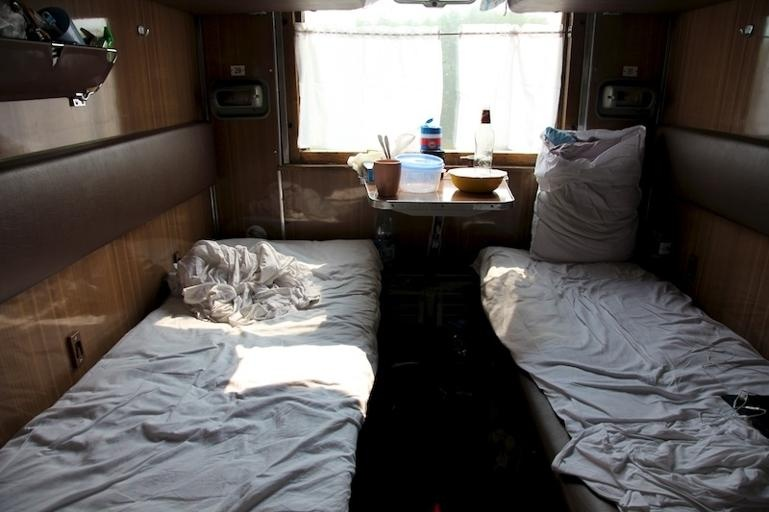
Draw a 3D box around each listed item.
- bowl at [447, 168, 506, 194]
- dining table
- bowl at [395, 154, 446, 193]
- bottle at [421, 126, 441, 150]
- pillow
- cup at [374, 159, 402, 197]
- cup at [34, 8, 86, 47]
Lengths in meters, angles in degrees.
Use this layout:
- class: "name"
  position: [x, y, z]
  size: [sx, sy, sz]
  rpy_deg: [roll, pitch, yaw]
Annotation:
- class: "bowl"
  position: [0.498, -0.428, 2.890]
  size: [0.289, 0.109, 0.314]
  rpy_deg: [0, 21, 0]
- class: "dining table"
  position: [0.274, -0.124, 3.260]
  size: [0.964, 0.906, 0.934]
  rpy_deg: [2, 36, 2]
- class: "bowl"
  position: [0.193, -0.468, 2.876]
  size: [0.248, 0.171, 0.348]
  rpy_deg: [2, 21, 3]
- class: "bottle"
  position: [0.252, -0.710, 3.130]
  size: [0.127, 0.130, 0.123]
  rpy_deg: [-7, 26, -13]
- class: "pillow"
  position: [1.207, -0.362, 3.312]
  size: [0.745, 0.923, 0.538]
  rpy_deg: [13, 21, 17]
- class: "cup"
  position: [0.025, -0.393, 2.658]
  size: [0.146, 0.177, 0.179]
  rpy_deg: [-3, 22, -9]
- class: "cup"
  position: [-1.211, -0.864, 1.957]
  size: [0.129, 0.129, 0.108]
  rpy_deg: [-12, 24, -28]
